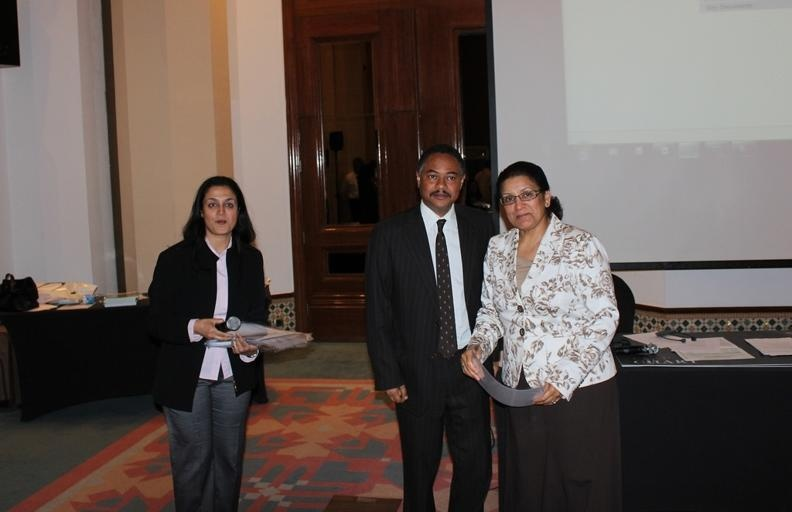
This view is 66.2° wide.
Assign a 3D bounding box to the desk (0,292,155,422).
[{"bbox_3d":[-3.304,1.004,6.515,1.932,1.424,1.245,-2,-1,-26],"label":"desk"}]

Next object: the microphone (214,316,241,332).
[{"bbox_3d":[-1.027,0.434,3.719,0.071,0.071,0.185,-27,4,-34],"label":"microphone"}]

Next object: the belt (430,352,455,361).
[{"bbox_3d":[0.296,0.636,3.733,0.150,0.052,0.028,-2,12,-4],"label":"belt"}]

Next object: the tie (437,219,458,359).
[{"bbox_3d":[0.312,0.205,3.773,0.119,0.822,0.275,-1,11,3],"label":"tie"}]

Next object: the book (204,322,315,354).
[{"bbox_3d":[-0.803,0.516,3.754,0.386,0.136,0.299,-2,-7,-33],"label":"book"}]
